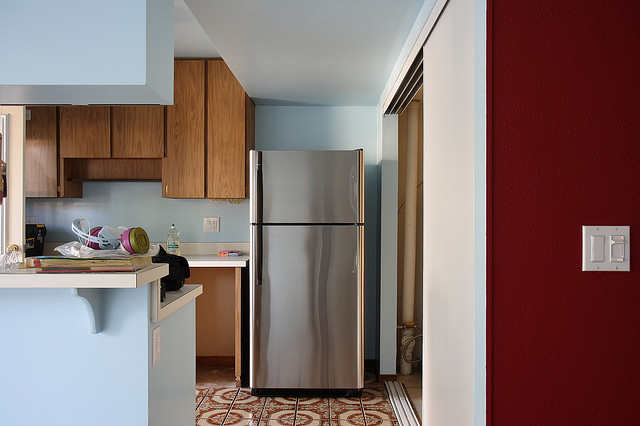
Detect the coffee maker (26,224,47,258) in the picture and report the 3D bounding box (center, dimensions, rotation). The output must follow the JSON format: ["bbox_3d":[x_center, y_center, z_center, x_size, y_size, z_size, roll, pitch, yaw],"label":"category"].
[{"bbox_3d":[-2.347,0.227,4.316,0.091,0.270,0.269,2,7,12],"label":"coffee maker"}]

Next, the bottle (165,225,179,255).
[{"bbox_3d":[-1.236,0.218,4.366,0.114,0.210,0.209,-1,7,-17],"label":"bottle"}]

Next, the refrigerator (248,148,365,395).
[{"bbox_3d":[-0.099,0.405,3.783,0.813,1.720,0.308,0,7,-8],"label":"refrigerator"}]

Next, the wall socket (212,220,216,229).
[{"bbox_3d":[-0.902,0.103,4.448,0.038,0.057,0.014,0,1,1],"label":"wall socket"}]
